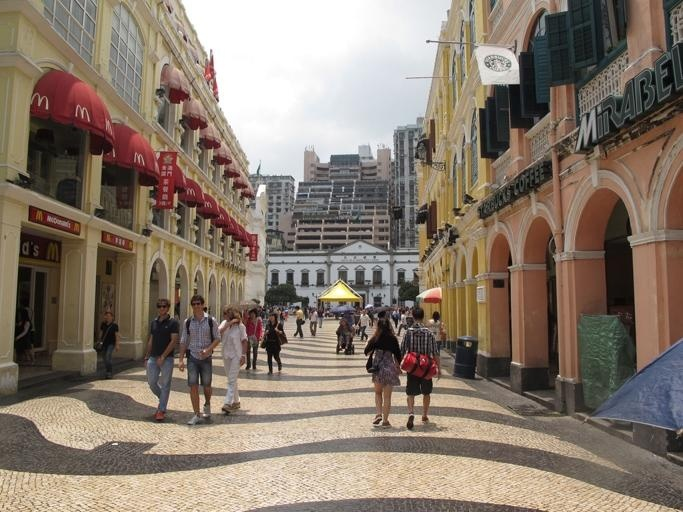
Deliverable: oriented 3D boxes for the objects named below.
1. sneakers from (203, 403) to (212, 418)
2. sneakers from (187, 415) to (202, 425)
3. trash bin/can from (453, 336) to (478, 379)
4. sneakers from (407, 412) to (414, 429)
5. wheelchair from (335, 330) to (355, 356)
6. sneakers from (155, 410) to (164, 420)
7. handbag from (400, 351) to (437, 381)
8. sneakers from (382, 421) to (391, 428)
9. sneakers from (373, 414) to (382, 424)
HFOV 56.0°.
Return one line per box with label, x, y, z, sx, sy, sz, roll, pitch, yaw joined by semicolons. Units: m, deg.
sneakers;-2.713;3.111;12.956;0.148;0.264;0.346;3;-8;-10
sneakers;-2.886;3.221;12.633;0.111;0.149;0.323;-6;-16;12
trash bin/can;3.503;2.843;18.060;0.606;1.161;0.838;1;-8;10
sneakers;1.338;3.168;12.392;0.109;0.269;0.110;3;18;6
wheelchair;0.137;3.379;24.792;0.558;0.801;0.948;-2;-41;3
sneakers;-3.630;3.190;12.837;0.119;0.105;0.247;4;-14;-8
handbag;1.563;2.166;12.717;0.756;0.522;0.382;2;-8;1
sneakers;0.887;3.265;12.498;0.077;0.091;0.200;-1;-4;23
sneakers;0.712;3.196;12.635;0.179;0.189;0.320;3;-8;-5
